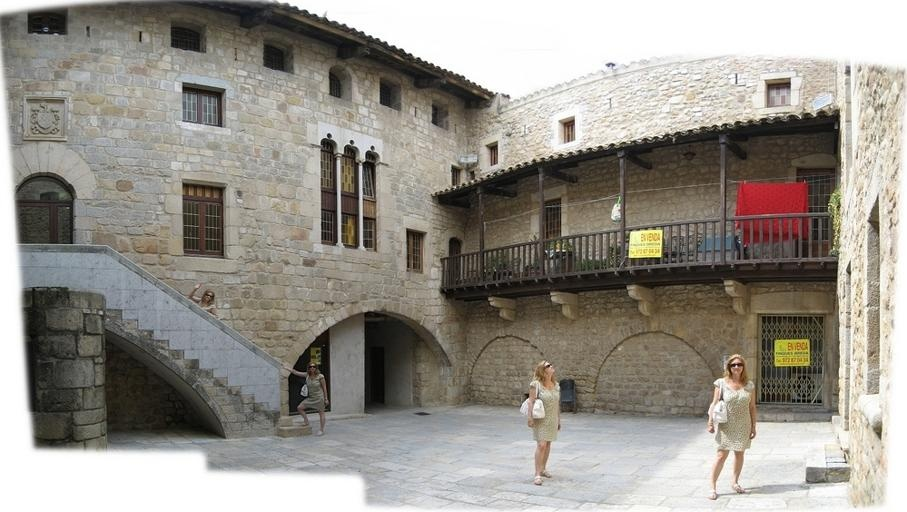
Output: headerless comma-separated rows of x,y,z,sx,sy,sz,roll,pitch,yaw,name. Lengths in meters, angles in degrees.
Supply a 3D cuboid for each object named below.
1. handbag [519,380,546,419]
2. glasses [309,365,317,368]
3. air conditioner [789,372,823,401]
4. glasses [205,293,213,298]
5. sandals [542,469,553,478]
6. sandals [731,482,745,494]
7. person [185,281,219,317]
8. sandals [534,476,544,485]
1.696,3.127,21.169,0.496,0.810,0.225,3,9,33,handbag
-3.708,2.889,25.577,0.205,0.087,0.227,0,-7,-8,glasses
9.473,3.559,26.362,0.802,0.633,0.223,-3,-7,25,air conditioner
-6.543,1.048,26.233,0.100,0.153,0.242,2,7,25,glasses
2.030,4.821,21.686,0.282,0.189,0.104,-7,-8,39,sandals
5.892,4.844,20.449,0.218,0.146,0.384,-3,-8,10,sandals
-6.728,1.156,25.950,0.841,1.174,0.385,12,-36,-35,person
1.813,4.871,21.278,0.144,0.138,0.344,0,-11,2,sandals
